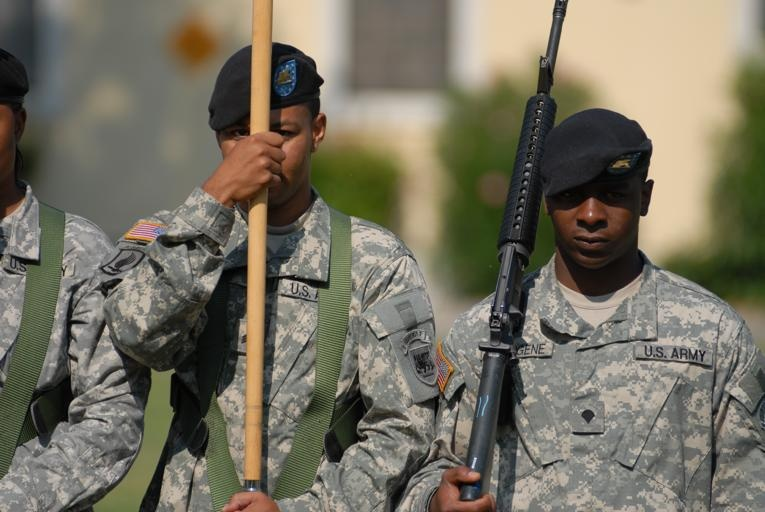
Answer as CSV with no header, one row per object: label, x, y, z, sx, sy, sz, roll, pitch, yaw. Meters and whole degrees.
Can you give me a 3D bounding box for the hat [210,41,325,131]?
hat,-0.641,-0.967,8.564,0.462,0.299,0.611,-3,3,34
